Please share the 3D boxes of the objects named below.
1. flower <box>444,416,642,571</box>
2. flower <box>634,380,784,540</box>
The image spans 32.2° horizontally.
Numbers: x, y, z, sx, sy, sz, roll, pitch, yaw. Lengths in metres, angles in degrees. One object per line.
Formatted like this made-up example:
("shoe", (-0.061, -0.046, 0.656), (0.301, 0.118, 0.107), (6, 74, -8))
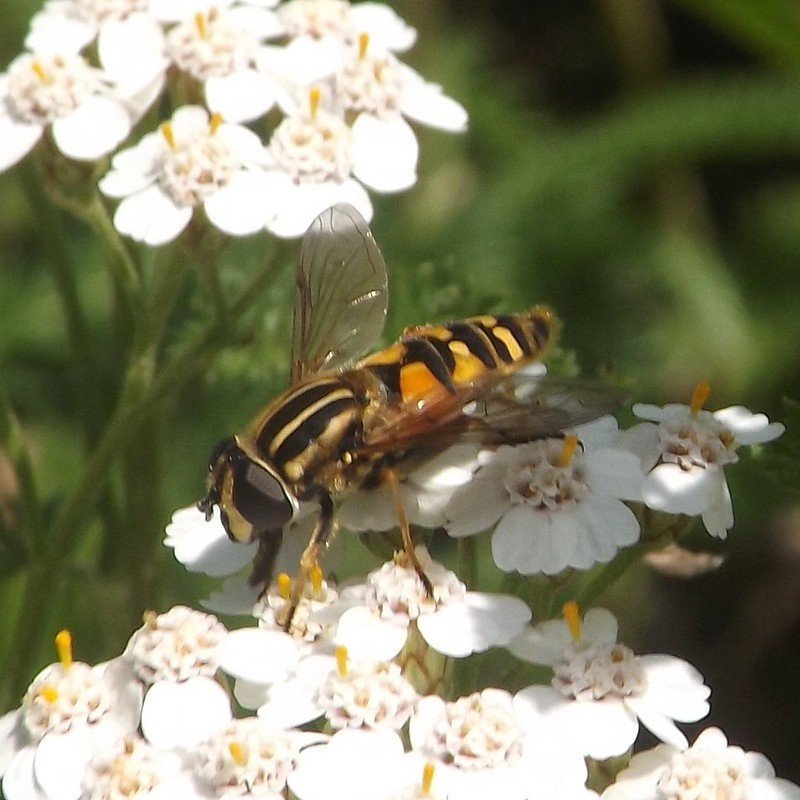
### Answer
("flower", (0.218, 0.151, 2.028), (0.209, 0.084, 0.221), (16, 61, 11))
("flower", (0.463, 0.023, 2.054), (0.219, 0.119, 0.240), (14, 37, -3))
